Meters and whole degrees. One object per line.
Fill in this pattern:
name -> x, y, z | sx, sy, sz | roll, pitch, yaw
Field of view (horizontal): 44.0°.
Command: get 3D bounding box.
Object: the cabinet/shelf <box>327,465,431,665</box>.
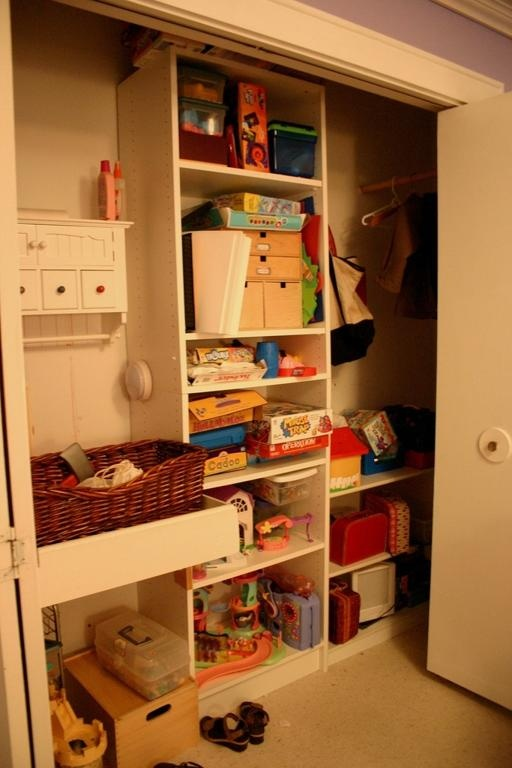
cabinet/shelf -> 0.479, 0.746, 2.529 | 0.206, 0.568, 0.673 | 10, 16, 40

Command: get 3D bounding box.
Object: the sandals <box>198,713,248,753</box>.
sandals -> -0.094, 1.039, 1.906 | 0.066, 0.056, 0.132 | 1, 9, -45

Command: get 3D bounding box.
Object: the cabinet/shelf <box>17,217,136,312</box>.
cabinet/shelf -> -0.489, -0.319, 1.687 | 0.311, 0.252, 0.110 | -9, 14, -42

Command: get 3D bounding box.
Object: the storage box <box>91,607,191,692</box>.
storage box -> -0.344, 0.805, 1.888 | 0.281, 0.138, 0.168 | 12, 15, 41

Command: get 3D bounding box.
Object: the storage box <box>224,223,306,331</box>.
storage box -> 0.019, -0.339, 1.972 | 0.361, 0.340, 0.188 | -5, 7, -43

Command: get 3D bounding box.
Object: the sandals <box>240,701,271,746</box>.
sandals -> 0.000, 1.037, 1.947 | 0.044, 0.043, 0.109 | -1, -3, -19

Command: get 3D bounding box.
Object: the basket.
basket -> -0.373, 0.244, 1.583 | 0.508, 0.150, 0.406 | -3, 4, -40

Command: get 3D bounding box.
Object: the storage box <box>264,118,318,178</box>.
storage box -> 0.110, -0.765, 2.054 | 0.126, 0.187, 0.225 | 14, 18, 41
